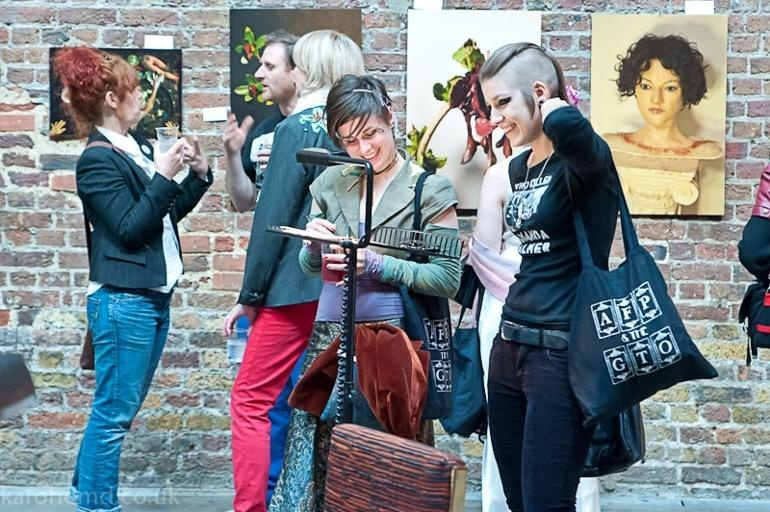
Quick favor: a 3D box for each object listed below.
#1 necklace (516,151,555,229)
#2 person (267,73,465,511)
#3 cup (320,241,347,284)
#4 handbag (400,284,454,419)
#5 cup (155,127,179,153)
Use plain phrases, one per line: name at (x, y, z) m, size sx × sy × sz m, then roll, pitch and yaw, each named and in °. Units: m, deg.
necklace at (0.636, -0.294, 4.243) m, size 0.118 × 0.356 × 0.025 m, roll 7°, pitch -22°, yaw 41°
person at (-0.084, 0.164, 4.463) m, size 0.745 × 1.959 × 0.512 m, roll 1°, pitch 1°, yaw 34°
cup at (-0.238, 0.040, 4.422) m, size 0.103 × 0.177 × 0.314 m, roll 0°, pitch 1°, yaw -4°
handbag at (0.192, 0.425, 4.430) m, size 0.248 × 0.577 × 0.181 m, roll 0°, pitch 1°, yaw -12°
cup at (-1.095, -0.586, 5.103) m, size 0.124 × 0.158 × 0.132 m, roll 1°, pitch 9°, yaw 0°
